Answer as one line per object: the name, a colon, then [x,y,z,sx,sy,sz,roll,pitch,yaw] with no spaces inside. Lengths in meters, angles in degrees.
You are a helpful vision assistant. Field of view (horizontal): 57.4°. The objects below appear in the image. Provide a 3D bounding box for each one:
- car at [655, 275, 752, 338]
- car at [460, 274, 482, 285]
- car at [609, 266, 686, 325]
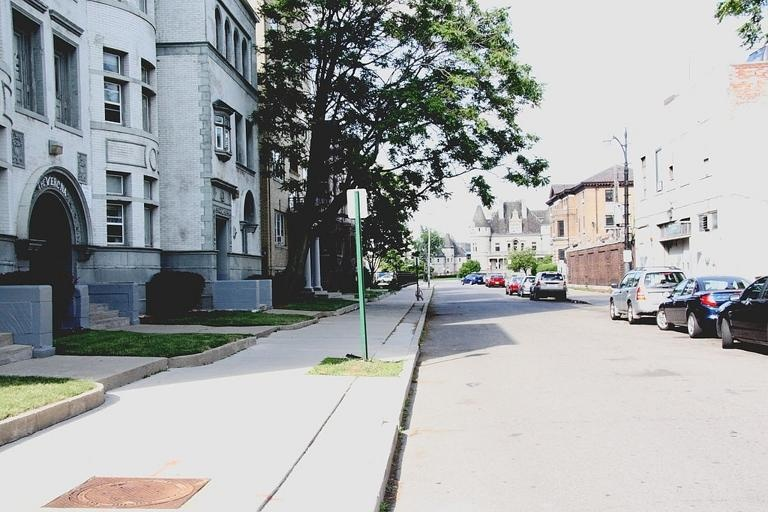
car: [9.179,1.387,20.571,1.307,0.885,2.648,0,1,-1]
car: [13.304,3.473,105.130,1.652,1.192,2.659,-2,4,-15]
car: [9.129,1.259,24.898,1.438,1.156,2.939,-1,2,2]
